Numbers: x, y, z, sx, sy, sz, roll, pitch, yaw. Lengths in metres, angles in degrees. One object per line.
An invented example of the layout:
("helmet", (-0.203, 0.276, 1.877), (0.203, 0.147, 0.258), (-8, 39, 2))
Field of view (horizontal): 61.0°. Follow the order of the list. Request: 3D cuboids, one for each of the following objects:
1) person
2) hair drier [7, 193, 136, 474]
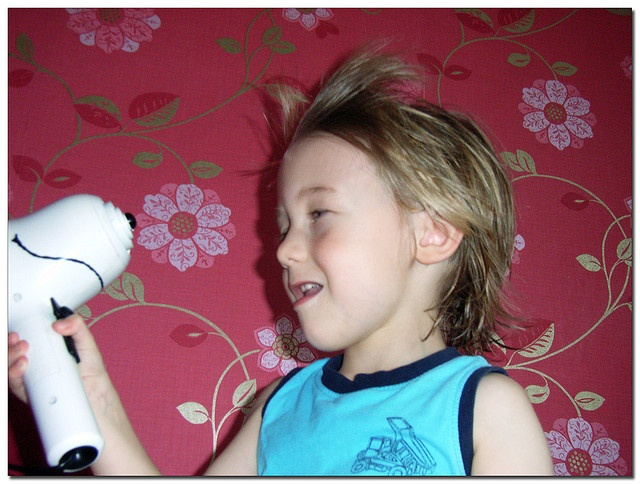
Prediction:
("person", (-0.044, 0.103, 1.168), (0.614, 0.899, 0.886), (5, 4, -11))
("hair drier", (-0.437, 0.140, 0.982), (0.202, 0.494, 0.176), (0, 11, 7))
